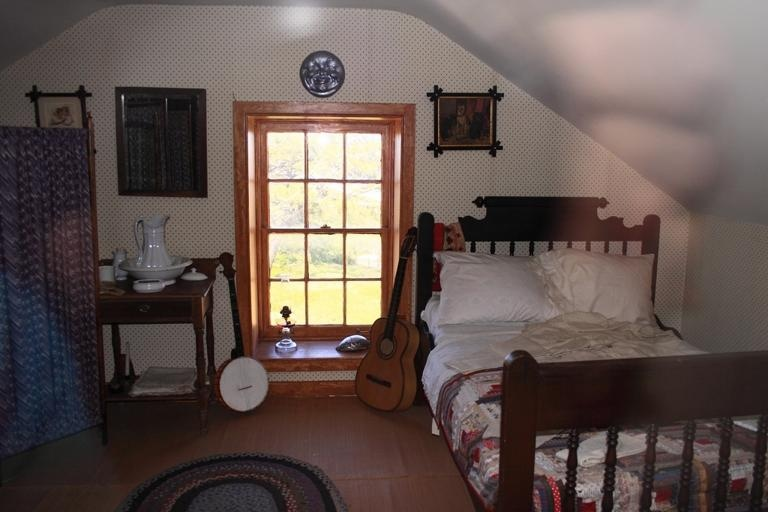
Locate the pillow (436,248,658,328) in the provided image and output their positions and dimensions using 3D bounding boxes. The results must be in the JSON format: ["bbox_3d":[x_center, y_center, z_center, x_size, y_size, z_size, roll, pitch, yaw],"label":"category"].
[{"bbox_3d":[1.044,0.211,4.042,1.111,0.186,0.628,-3,51,8],"label":"pillow"}]

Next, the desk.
[{"bbox_3d":[-1.554,0.613,4.279,0.831,0.987,0.751,0,5,3],"label":"desk"}]

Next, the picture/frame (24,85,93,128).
[{"bbox_3d":[-2.245,-1.038,4.225,0.450,0.403,0.020,3,23,-9],"label":"picture/frame"}]

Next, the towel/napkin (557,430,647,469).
[{"bbox_3d":[1.016,0.876,2.846,0.467,0.113,0.161,-3,7,-14],"label":"towel/napkin"}]

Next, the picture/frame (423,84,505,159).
[{"bbox_3d":[0.572,-0.993,4.430,0.530,0.473,0.037,0,11,-2],"label":"picture/frame"}]
